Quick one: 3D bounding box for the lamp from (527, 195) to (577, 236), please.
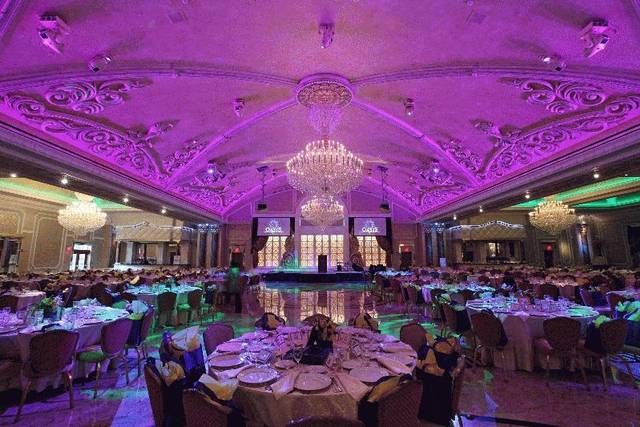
[{"bbox_3d":[8.973,0.086,14.185,1.654,1.487,1.575,-2,2,6],"label":"lamp"}]

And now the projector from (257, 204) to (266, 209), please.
[{"bbox_3d":[-2.434,-0.299,15.187,0.387,0.194,0.252,2,-4,7],"label":"projector"}]

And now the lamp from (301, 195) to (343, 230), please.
[{"bbox_3d":[0.007,-0.148,12.903,1.238,1.075,1.194,-7,-14,28],"label":"lamp"}]
